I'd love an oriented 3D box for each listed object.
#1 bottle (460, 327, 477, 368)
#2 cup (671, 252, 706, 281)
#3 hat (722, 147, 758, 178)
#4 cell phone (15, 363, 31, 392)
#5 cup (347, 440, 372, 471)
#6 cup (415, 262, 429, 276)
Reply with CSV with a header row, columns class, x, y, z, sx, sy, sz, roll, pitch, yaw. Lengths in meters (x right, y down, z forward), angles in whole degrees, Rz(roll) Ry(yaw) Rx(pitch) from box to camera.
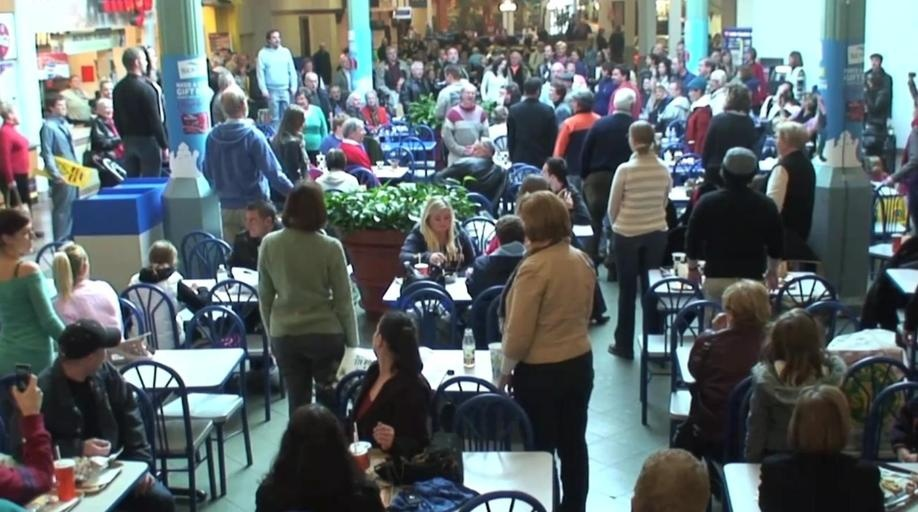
class,x,y,z,sx,sy,sz,roll,pitch,yaw
bottle,0.096,0.861,7.974,0.119,0.363,0.191,-2,5,0
cup,2.512,0.116,9.227,0.385,0.395,0.270,4,22,19
hat,2.846,-0.944,8.576,0.299,0.238,0.298,-15,26,-32
cell phone,-3.484,0.964,6.695,0.136,0.222,0.056,0,5,15
cup,-0.777,1.589,6.693,0.171,0.246,0.358,-2,5,-7
cup,-0.405,0.135,9.240,0.131,0.105,0.129,0,6,0
